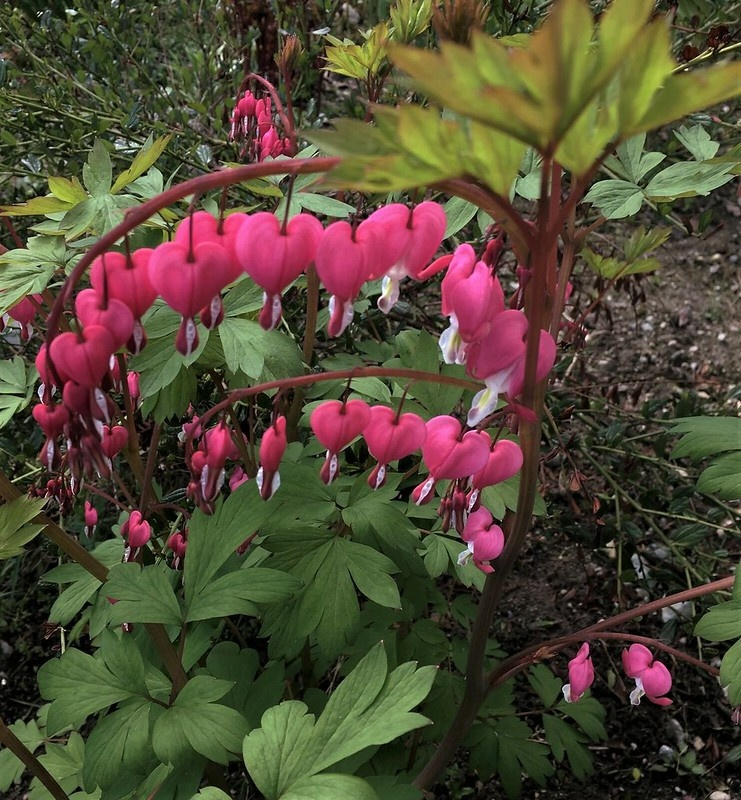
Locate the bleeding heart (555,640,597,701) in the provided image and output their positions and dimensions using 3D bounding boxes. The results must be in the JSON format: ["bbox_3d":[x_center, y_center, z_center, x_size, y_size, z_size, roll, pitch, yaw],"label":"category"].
[{"bbox_3d":[0.474,0.623,1.560,0.065,0.156,0.052,15,25,28],"label":"bleeding heart"}]

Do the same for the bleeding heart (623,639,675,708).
[{"bbox_3d":[0.620,0.616,1.556,0.078,0.136,0.091,-15,36,-8],"label":"bleeding heart"}]

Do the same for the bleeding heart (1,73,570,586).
[{"bbox_3d":[-0.120,-0.031,1.153,0.827,0.911,0.500,1,37,12],"label":"bleeding heart"}]
